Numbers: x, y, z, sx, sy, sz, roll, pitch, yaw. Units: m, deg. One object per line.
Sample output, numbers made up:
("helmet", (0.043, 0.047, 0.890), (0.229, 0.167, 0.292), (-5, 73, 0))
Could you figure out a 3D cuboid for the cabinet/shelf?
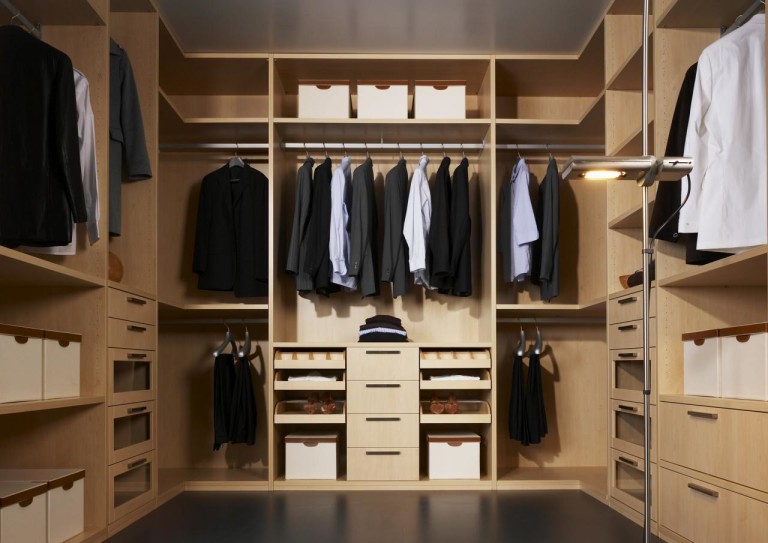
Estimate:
("cabinet/shelf", (0.122, -0.135, 4.837), (3.966, 3.304, 2.180), (0, 1, 4))
